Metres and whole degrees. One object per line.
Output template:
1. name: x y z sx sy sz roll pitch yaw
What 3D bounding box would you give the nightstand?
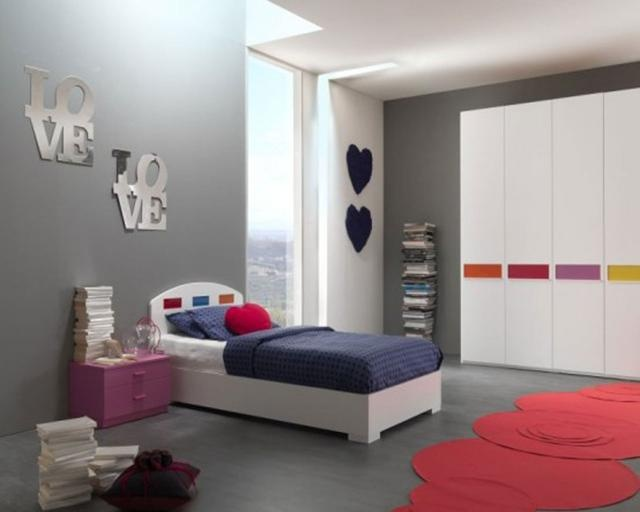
1. nightstand: -1.493 0.821 3.425 0.406 0.486 0.694 0 1 37

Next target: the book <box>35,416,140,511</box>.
1. book: -1.150 0.971 2.179 0.437 0.160 0.331 -1 -1 38

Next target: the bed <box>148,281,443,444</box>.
1. bed: -0.245 0.568 3.726 1.959 1.039 1.119 0 2 32
